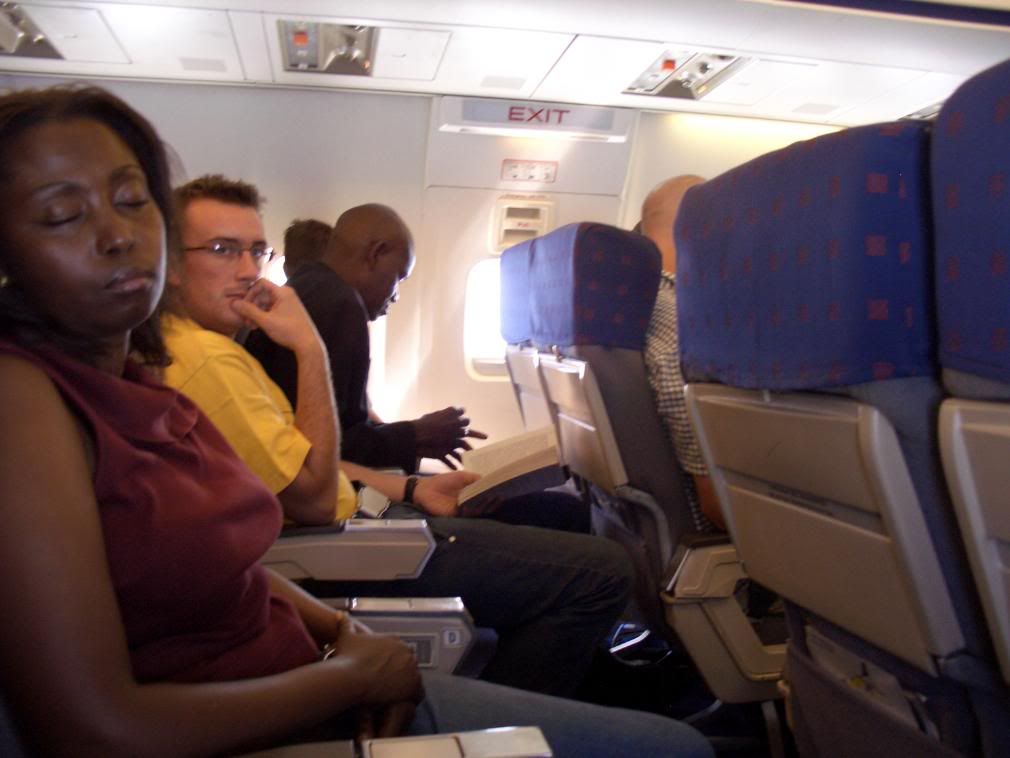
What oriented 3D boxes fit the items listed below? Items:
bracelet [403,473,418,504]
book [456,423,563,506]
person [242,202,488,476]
[{"bbox_3d":[-0.318,0.372,2.595,0.055,0.069,0.072,8,15,1],"label":"bracelet"},{"bbox_3d":[0.035,0.247,2.350,0.258,0.069,0.286,-26,-2,-26],"label":"book"},{"bbox_3d":[-0.563,-0.170,2.991,1.181,1.197,0.860,1,4,-22],"label":"person"}]
